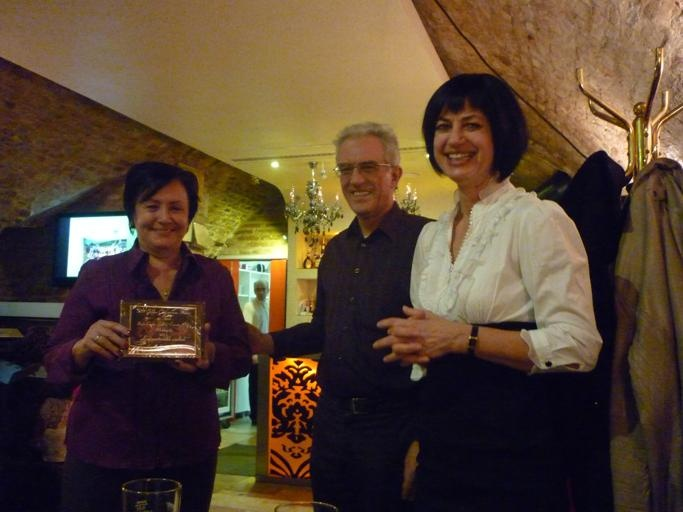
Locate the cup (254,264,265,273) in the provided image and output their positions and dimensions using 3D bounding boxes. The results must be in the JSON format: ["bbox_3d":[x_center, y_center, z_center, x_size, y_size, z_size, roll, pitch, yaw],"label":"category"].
[{"bbox_3d":[-1.455,0.216,9.675,0.143,0.257,0.145,-6,0,0],"label":"cup"}]

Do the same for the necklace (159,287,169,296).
[{"bbox_3d":[-0.680,0.139,2.094,0.031,0.030,0.011,2,-36,-12],"label":"necklace"}]

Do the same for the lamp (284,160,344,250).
[{"bbox_3d":[-0.350,-0.564,7.181,0.551,0.775,0.543,10,-15,-26],"label":"lamp"}]

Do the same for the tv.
[{"bbox_3d":[-2.699,-0.089,5.991,0.086,0.708,1.027,6,3,26],"label":"tv"}]
